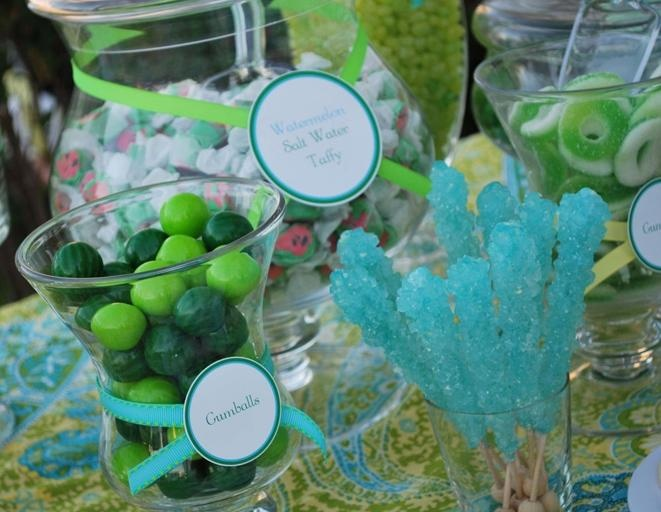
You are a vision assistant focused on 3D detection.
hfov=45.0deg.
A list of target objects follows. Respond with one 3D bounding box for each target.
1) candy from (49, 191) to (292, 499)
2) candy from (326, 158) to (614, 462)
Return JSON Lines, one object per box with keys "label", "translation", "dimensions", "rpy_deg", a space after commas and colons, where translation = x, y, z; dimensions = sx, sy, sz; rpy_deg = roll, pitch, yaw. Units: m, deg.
{"label": "candy", "translation": [-0.125, 0.064, 0.685], "dimensions": [0.211, 0.198, 0.196], "rpy_deg": [-13, 32, -3]}
{"label": "candy", "translation": [0.132, 0.014, 0.639], "dimensions": [0.156, 0.173, 0.240], "rpy_deg": [19, 43, 39]}
